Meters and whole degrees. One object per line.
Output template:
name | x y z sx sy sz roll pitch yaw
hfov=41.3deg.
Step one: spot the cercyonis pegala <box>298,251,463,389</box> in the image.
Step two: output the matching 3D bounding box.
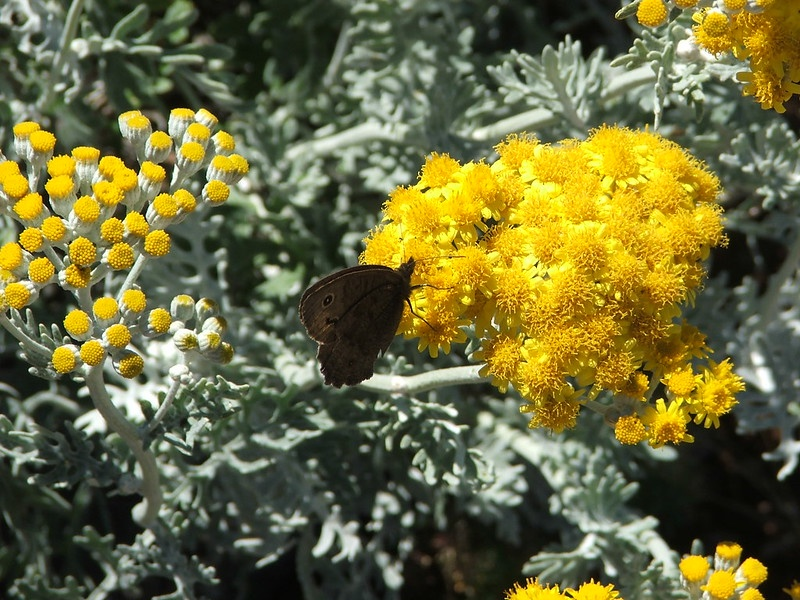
cercyonis pegala | -0.103 0.064 4.050 0.541 0.507 0.270 7 2 -36
